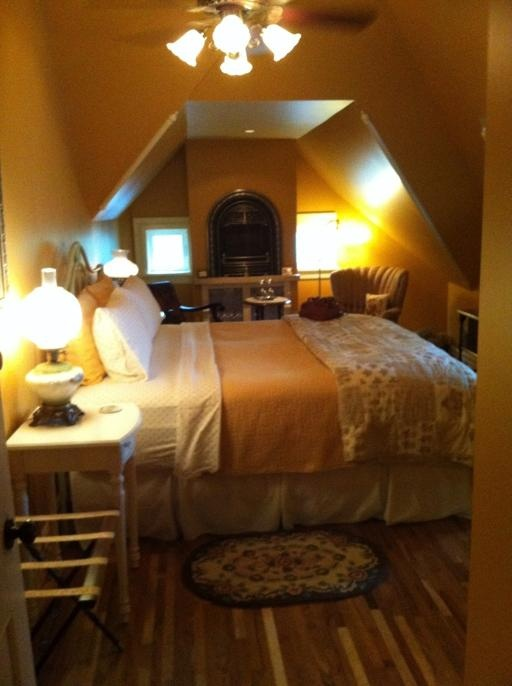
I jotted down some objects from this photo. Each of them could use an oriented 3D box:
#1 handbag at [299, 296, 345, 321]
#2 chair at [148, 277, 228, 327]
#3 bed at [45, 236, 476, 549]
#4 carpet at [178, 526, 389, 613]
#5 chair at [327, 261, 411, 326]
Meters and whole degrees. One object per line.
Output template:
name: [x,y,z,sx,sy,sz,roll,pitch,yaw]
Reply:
handbag: [0.443,-0.230,3.913,0.214,0.122,0.206,-1,9,-5]
chair: [-0.682,-0.425,5.622,0.598,0.776,0.553,-3,10,-1]
bed: [0.053,0.258,2.769,1.566,0.954,1.548,-3,19,-7]
carpet: [0.107,0.856,2.192,0.767,0.011,0.493,-2,9,-6]
chair: [1.048,-0.522,5.642,0.645,0.685,0.653,0,27,11]
